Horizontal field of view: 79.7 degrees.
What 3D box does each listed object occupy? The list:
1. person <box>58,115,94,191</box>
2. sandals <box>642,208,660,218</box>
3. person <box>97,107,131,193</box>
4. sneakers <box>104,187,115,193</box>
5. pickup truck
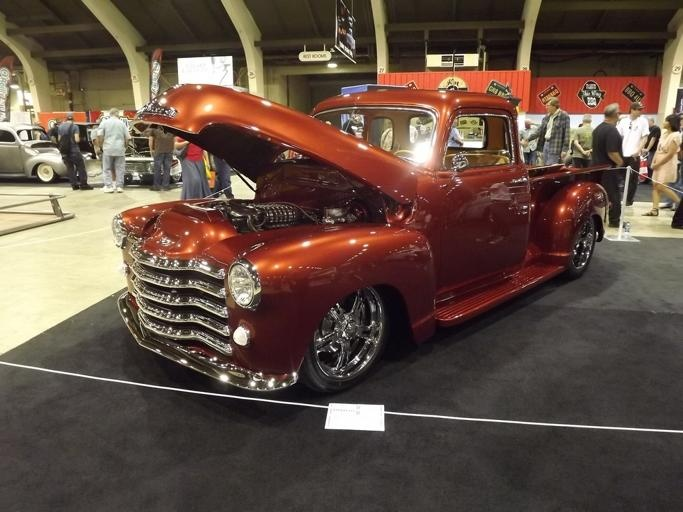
[{"bbox_3d":[-6.898,-2.616,10.349,0.551,1.830,0.905,-11,20,-34],"label":"person"},{"bbox_3d":[6.074,-0.787,7.638,0.399,0.140,0.122,6,11,32],"label":"sandals"},{"bbox_3d":[-5.542,-2.516,9.762,0.739,1.839,0.627,-4,18,-40],"label":"person"},{"bbox_3d":[-5.730,-1.589,9.936,0.346,0.130,0.121,7,15,19],"label":"sneakers"},{"bbox_3d":[0.508,-0.334,3.413,3.874,1.389,1.913,-11,14,-34],"label":"pickup truck"}]
